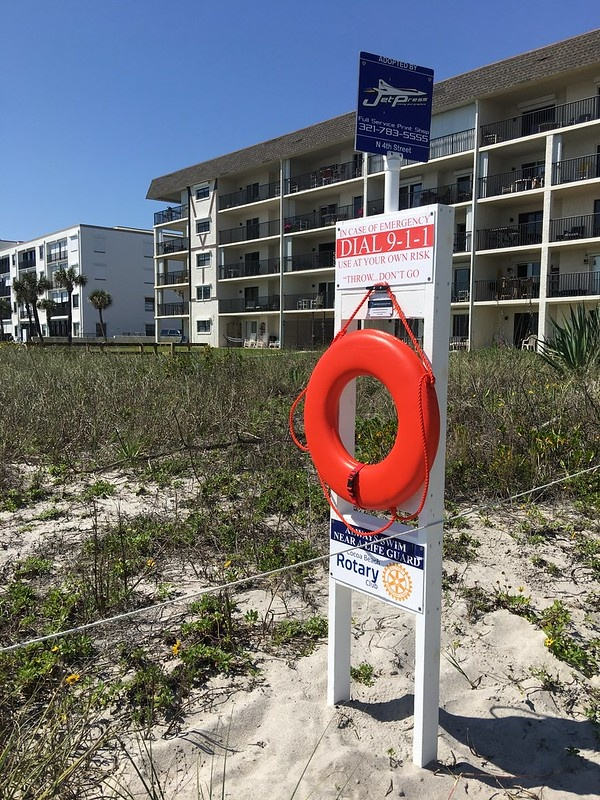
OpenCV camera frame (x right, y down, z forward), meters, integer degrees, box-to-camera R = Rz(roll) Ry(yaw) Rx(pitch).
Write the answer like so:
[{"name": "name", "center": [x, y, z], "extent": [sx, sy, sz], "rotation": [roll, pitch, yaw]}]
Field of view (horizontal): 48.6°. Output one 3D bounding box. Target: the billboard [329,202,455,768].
[{"name": "billboard", "center": [0.336, 0.303, 2.653], "extent": [0.281, 2.073, 0.673], "rotation": [-9, 14, -44]}]
